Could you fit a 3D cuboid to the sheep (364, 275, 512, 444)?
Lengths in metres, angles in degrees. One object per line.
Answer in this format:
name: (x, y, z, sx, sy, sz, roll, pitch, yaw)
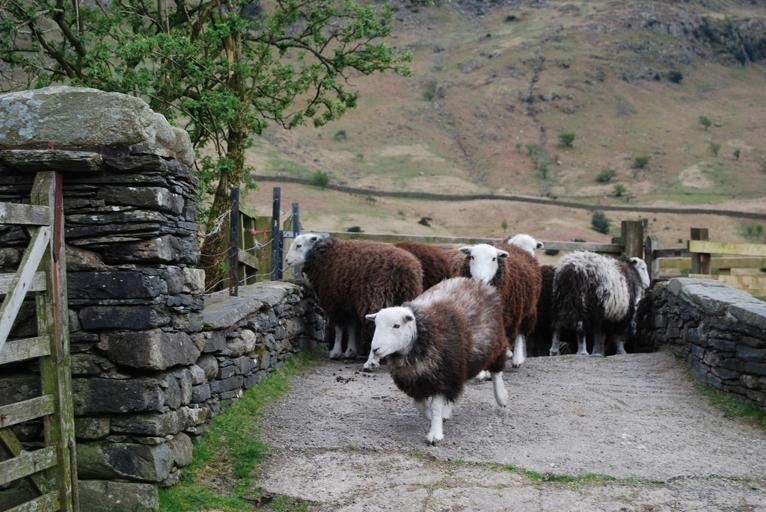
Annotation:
sheep: (0.947, 1.638, 13.669, 2.335, 2.446, 0.981, -4, 4, -37)
